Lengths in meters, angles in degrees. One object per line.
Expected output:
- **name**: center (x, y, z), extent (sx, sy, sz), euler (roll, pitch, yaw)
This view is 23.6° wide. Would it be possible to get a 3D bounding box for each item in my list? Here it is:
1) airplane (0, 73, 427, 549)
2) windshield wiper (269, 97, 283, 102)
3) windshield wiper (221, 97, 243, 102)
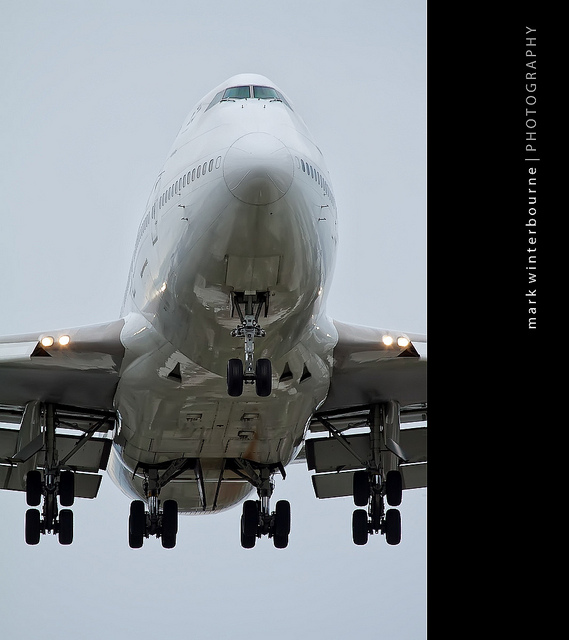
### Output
- **airplane**: center (-0.615, -0.049, 11.003), extent (3.405, 3.142, 4.496), euler (1, -20, 2)
- **windshield wiper**: center (-0.064, -1.649, 10.202), extent (0.112, 0.057, 0.032), euler (4, 6, -5)
- **windshield wiper**: center (-0.381, -1.651, 10.220), extent (0.178, 0.037, 0.032), euler (-8, -15, -7)
